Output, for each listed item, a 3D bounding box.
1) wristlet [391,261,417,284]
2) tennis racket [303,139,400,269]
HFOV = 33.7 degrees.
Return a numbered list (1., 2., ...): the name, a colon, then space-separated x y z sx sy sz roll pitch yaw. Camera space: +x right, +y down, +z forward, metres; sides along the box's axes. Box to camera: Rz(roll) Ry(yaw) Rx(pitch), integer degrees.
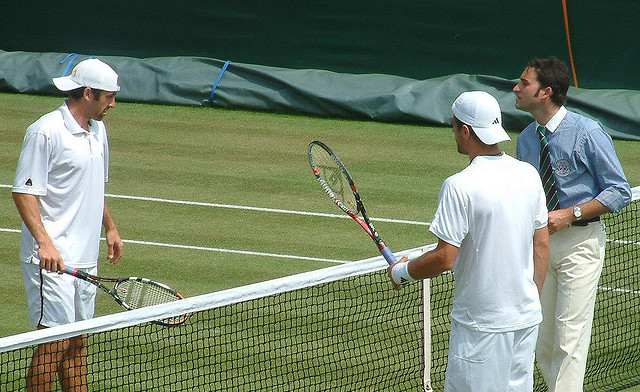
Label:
1. wristlet: 0.938 0.875 11.736 0.252 0.217 0.244 -8 -41 19
2. tennis racket: 0.434 0.196 15.495 0.628 2.505 0.201 -40 -14 10
